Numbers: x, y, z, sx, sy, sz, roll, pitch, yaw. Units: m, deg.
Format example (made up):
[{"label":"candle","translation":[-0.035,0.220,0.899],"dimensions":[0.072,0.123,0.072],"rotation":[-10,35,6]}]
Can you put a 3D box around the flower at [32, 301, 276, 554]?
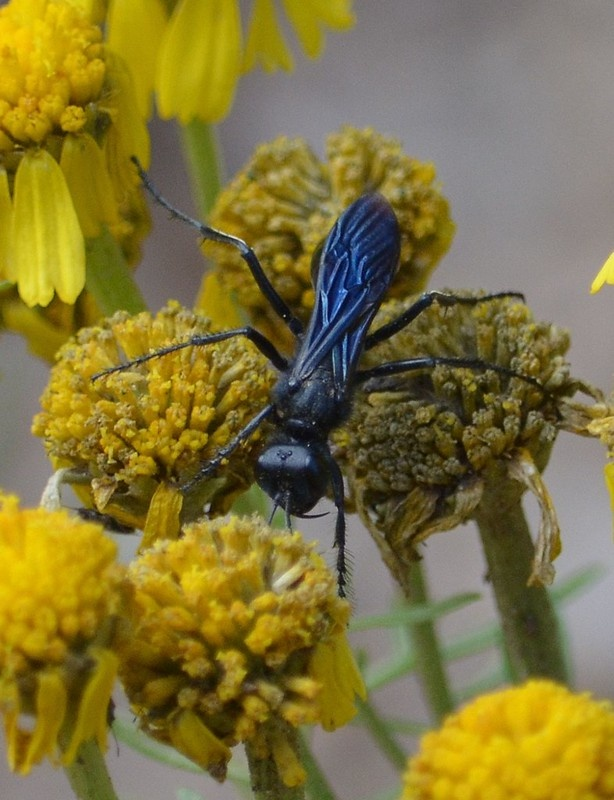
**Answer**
[{"label":"flower","translation":[-0.126,0.001,1.062],"dimensions":[0.205,0.178,0.268],"rotation":[-10,16,-25]}]
